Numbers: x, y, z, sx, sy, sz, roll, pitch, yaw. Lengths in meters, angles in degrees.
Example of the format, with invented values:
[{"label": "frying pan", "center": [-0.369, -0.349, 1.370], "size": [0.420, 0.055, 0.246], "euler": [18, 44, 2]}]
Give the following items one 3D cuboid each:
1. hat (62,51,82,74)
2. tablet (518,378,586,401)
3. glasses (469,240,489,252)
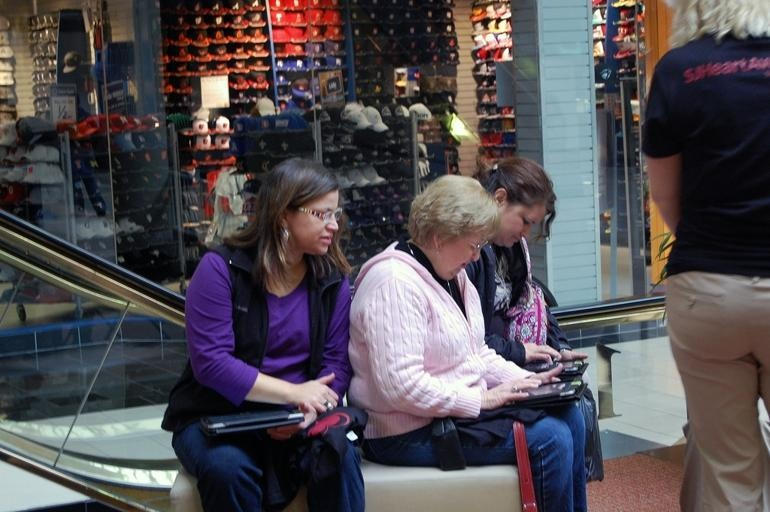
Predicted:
[{"label": "hat", "center": [-3.357, -2.062, 7.900], "size": [0.158, 0.190, 0.230], "euler": [9, 27, 22]}, {"label": "tablet", "center": [0.721, 0.583, 3.255], "size": [0.262, 0.035, 0.224], "euler": [-13, 3, 4]}, {"label": "glasses", "center": [0.409, -0.049, 3.297], "size": [0.060, 0.063, 0.018], "euler": [-5, 29, -45]}]
